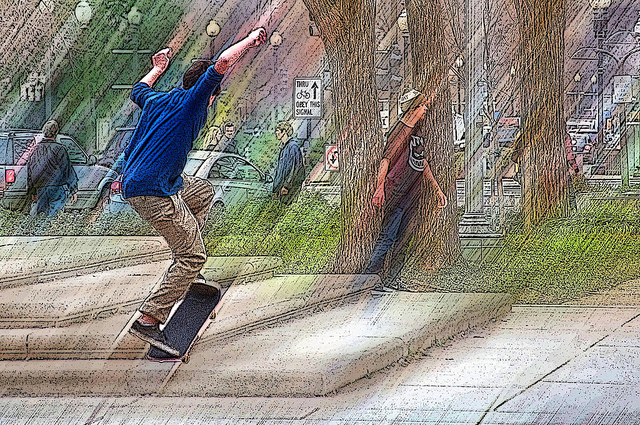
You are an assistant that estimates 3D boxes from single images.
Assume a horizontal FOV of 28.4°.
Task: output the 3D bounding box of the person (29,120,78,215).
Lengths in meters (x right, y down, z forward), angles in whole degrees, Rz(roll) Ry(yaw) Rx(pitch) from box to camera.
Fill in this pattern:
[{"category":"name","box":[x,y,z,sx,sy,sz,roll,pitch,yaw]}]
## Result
[{"category":"person","box":[-5.917,-0.946,27.637,0.914,2.012,0.397,6,5,4]}]
